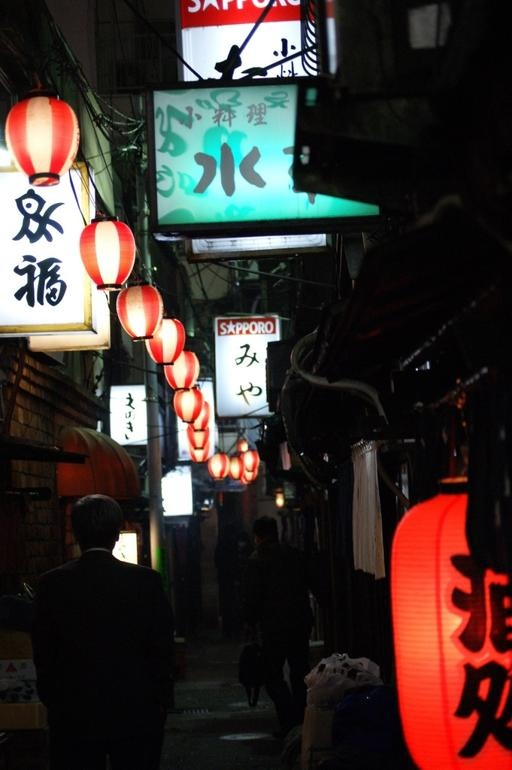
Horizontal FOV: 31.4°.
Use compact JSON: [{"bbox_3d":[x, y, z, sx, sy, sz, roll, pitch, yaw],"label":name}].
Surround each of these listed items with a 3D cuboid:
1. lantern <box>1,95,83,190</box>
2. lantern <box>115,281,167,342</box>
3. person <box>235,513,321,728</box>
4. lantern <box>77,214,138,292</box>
[{"bbox_3d":[-1.625,-1.886,7.196,0.593,0.793,0.619,0,-12,-14],"label":"lantern"},{"bbox_3d":[-1.338,-0.849,10.543,0.620,0.705,0.623,-2,-6,-31],"label":"lantern"},{"bbox_3d":[0.240,2.509,9.547,0.621,2.306,0.911,-8,-12,25],"label":"person"},{"bbox_3d":[-1.269,-1.212,8.454,0.546,0.762,0.594,-2,0,-5],"label":"lantern"}]
